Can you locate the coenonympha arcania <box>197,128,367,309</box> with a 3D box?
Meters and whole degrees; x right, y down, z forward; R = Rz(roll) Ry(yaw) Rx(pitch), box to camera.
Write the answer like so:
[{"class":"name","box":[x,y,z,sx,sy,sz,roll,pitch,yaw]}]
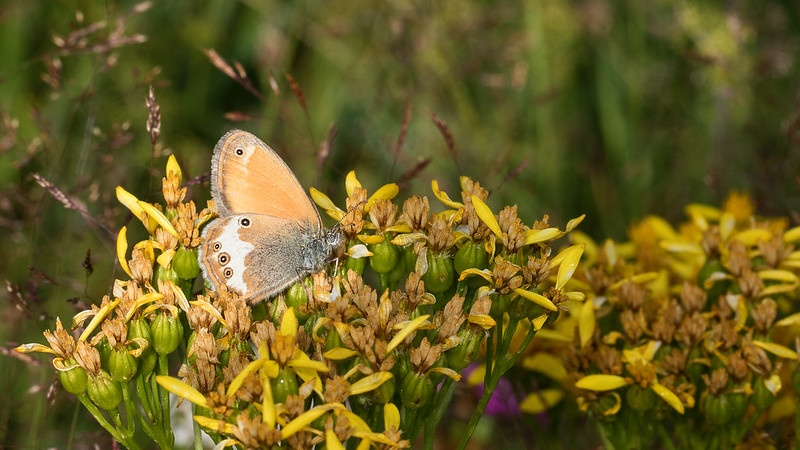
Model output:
[{"class":"coenonympha arcania","box":[-0.265,-0.005,2.302,0.358,0.457,0.242,-1,61,6]}]
